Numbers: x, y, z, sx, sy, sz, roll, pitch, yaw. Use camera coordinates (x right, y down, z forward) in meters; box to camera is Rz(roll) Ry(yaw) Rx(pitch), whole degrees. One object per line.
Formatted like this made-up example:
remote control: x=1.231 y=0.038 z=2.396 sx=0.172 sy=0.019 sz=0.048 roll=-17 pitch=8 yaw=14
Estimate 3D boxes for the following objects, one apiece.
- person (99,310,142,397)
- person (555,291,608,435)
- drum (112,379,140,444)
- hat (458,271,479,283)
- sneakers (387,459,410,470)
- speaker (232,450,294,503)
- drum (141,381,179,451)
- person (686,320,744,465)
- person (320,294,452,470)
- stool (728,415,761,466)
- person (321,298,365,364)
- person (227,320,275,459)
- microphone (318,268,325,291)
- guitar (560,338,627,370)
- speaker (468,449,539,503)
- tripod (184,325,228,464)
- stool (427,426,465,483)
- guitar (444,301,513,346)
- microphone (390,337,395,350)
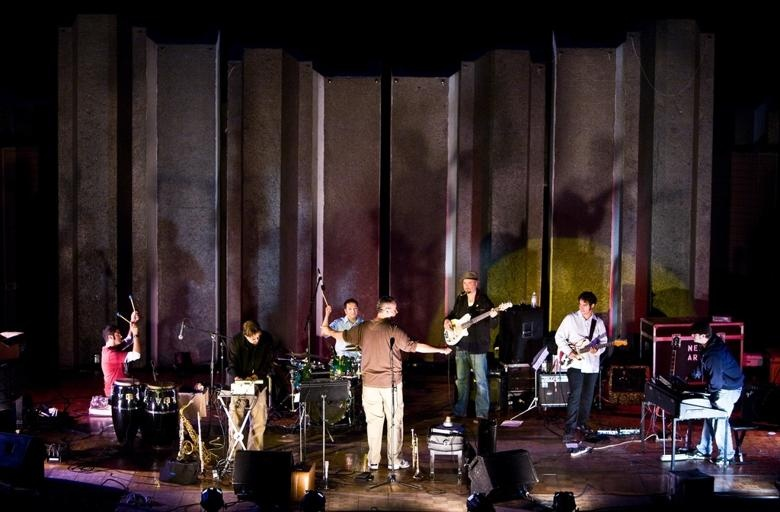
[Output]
person: x=-4.677 y=1.697 z=14.047 sx=0.602 sy=1.508 sz=2.572 roll=2 pitch=-3 yaw=-18
person: x=3.063 y=1.770 z=13.050 sx=0.798 sy=2.386 sz=0.654 roll=2 pitch=-2 yaw=-7
drum: x=-4.178 y=2.478 z=12.774 sx=0.481 sy=1.045 sz=0.268 roll=2 pitch=-2 yaw=-8
hat: x=1.380 y=0.344 z=13.766 sx=0.282 sy=0.165 sz=0.211 roll=3 pitch=-4 yaw=-31
sneakers: x=0.157 y=3.110 z=12.130 sx=0.381 sy=0.170 sz=0.149 roll=0 pitch=2 yaw=-20
speaker: x=-1.791 y=3.042 z=11.439 sx=0.858 sy=0.772 sz=0.700 roll=3 pitch=-10 yaw=6
drum: x=-3.597 y=2.485 z=12.638 sx=0.543 sy=0.952 sz=0.278 roll=2 pitch=-2 yaw=-17
person: x=5.030 y=2.074 z=12.406 sx=0.679 sy=2.127 sz=1.111 roll=0 pitch=-3 yaw=23
person: x=-0.124 y=1.920 z=12.111 sx=1.193 sy=2.609 sz=0.592 roll=1 pitch=-2 yaw=0
stool: x=5.475 y=2.822 z=12.660 sx=0.568 sy=0.750 sz=0.800 roll=1 pitch=2 yaw=18
person: x=-0.678 y=1.485 z=14.165 sx=0.835 sy=1.478 sz=0.408 roll=-6 pitch=23 yaw=-6
person: x=-2.156 y=1.997 z=12.433 sx=0.656 sy=1.991 sz=1.381 roll=2 pitch=-3 yaw=-8
microphone: x=-1.293 y=0.425 z=15.095 sx=0.099 sy=0.438 sz=0.170 roll=-6 pitch=5 yaw=-3
guitar: x=3.321 y=1.618 z=13.350 sx=1.401 sy=0.179 sz=0.528 roll=-12 pitch=14 yaw=8
speaker: x=1.598 y=3.084 z=11.456 sx=0.860 sy=0.567 sz=0.625 roll=2 pitch=12 yaw=-27
tripod: x=-3.051 y=2.417 z=12.956 sx=0.636 sy=1.874 sz=0.487 roll=2 pitch=-21 yaw=-9
stool: x=0.824 y=2.919 z=12.185 sx=0.647 sy=0.722 sz=0.622 roll=0 pitch=1 yaw=-11
guitar: x=1.392 y=1.168 z=13.627 sx=0.940 sy=0.708 sz=0.431 roll=1 pitch=-3 yaw=7
microphone: x=0.029 y=1.265 z=11.877 sx=0.069 sy=0.130 sz=0.054 roll=0 pitch=5 yaw=6
